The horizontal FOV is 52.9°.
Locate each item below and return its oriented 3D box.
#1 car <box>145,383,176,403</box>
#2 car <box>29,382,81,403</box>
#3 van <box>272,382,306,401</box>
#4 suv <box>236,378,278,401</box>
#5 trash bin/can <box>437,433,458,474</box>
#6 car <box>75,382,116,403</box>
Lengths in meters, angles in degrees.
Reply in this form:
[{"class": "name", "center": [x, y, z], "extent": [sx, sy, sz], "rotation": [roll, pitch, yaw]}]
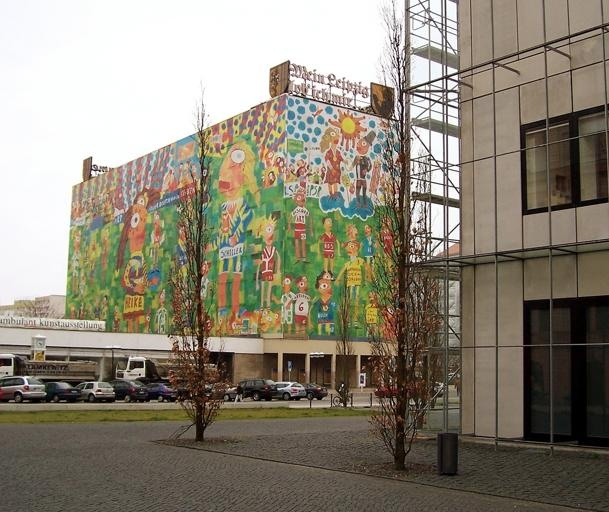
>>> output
[{"class": "car", "center": [-10.778, 10.292, 46.026], "extent": [2.572, 1.392, 1.207], "rotation": [-8, -13, 30]}, {"class": "car", "center": [-16.996, 9.652, 42.377], "extent": [2.544, 1.041, 1.217], "rotation": [1, -3, 41]}, {"class": "van", "center": [-1.204, 11.355, 51.294], "extent": [2.175, 1.031, 1.368], "rotation": [0, -4, 30]}, {"class": "suv", "center": [-3.748, 10.828, 49.614], "extent": [2.590, 1.414, 1.499], "rotation": [3, -3, 37]}, {"class": "trash bin/can", "center": [3.021, 4.179, 12.864], "extent": [0.396, 0.829, 0.313], "rotation": [-1, -10, 5]}, {"class": "car", "center": [-14.959, 9.709, 43.631], "extent": [1.370, 1.122, 2.473], "rotation": [4, -4, -45]}]
